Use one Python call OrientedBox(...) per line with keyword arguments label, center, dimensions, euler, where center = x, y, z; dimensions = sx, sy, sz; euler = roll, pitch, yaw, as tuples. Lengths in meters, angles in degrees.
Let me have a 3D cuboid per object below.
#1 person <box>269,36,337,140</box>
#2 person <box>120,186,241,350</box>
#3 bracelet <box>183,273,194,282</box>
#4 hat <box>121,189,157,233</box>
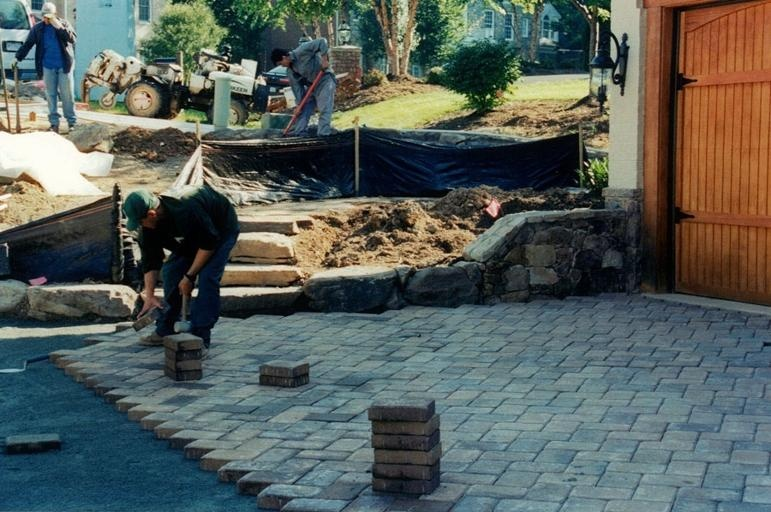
OrientedBox(label="person", center=(-1.443, -3.197, 16.499), dimensions=(0.908, 1.761, 1.117), euler=(-4, 10, -2))
OrientedBox(label="person", center=(-2.111, 0.160, 9.318), dimensions=(1.118, 1.820, 1.066), euler=(-5, 10, -11))
OrientedBox(label="bracelet", center=(-2.084, 0.220, 9.173), dimensions=(0.087, 0.030, 0.080), euler=(13, 11, -6))
OrientedBox(label="hat", center=(-2.454, -0.459, 8.759), dimensions=(0.341, 0.405, 0.316), euler=(-5, 10, -12))
